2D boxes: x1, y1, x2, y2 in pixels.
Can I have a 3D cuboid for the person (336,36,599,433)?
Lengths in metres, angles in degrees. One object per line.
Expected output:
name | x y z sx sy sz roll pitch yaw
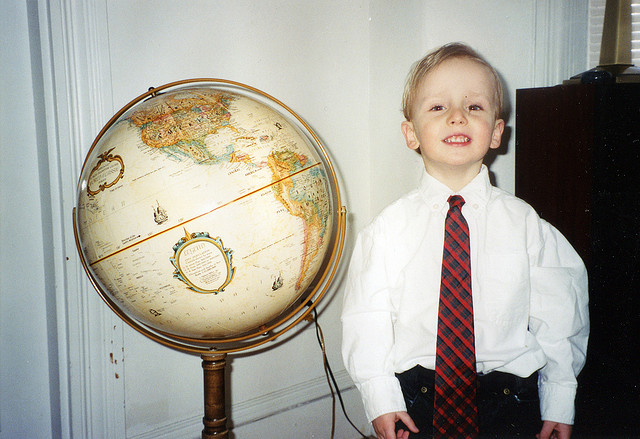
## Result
person | 0.474 0.110 2.077 0.901 1.294 0.255 -10 -4 -14
